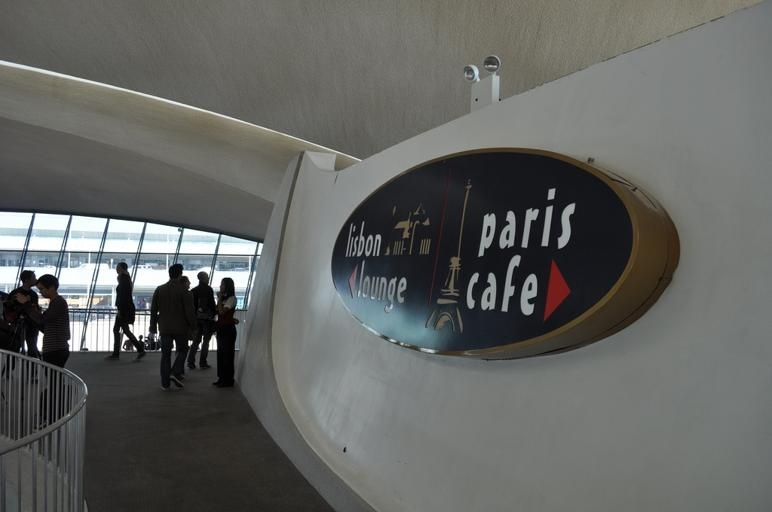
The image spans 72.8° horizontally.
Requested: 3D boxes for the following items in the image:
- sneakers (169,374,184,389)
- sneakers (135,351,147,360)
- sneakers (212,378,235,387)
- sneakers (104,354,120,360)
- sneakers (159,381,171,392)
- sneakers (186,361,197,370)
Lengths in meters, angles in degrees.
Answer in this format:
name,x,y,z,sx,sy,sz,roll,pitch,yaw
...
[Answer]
name,x,y,z,sx,sy,sz,roll,pitch,yaw
sneakers,-3.741,2.234,9.301,0.110,0.202,0.301,-21,-45,39
sneakers,-5.812,2.344,12.388,0.155,0.178,0.454,1,0,-16
sneakers,-2.953,2.248,9.352,0.433,0.184,0.148,5,-13,-4
sneakers,-6.575,2.398,12.521,0.385,0.153,0.156,0,-5,31
sneakers,-3.867,2.273,9.055,0.221,0.155,0.080,1,0,17
sneakers,-4.186,2.358,11.243,0.135,0.156,0.173,15,-13,-31
